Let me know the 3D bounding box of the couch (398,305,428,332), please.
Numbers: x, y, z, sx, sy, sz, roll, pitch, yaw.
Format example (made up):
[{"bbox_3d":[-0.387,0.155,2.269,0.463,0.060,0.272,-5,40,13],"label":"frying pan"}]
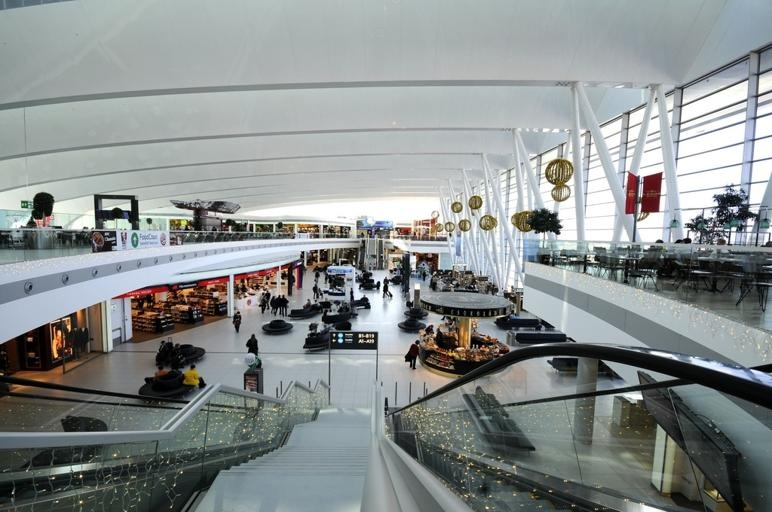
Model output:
[{"bbox_3d":[1.629,3.687,27.777,1.674,0.634,5.934,1,3,5],"label":"couch"}]

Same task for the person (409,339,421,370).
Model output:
[{"bbox_3d":[1.277,4.272,20.803,0.412,1.144,1.654,-1,2,6],"label":"person"}]

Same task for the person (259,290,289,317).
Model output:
[{"bbox_3d":[-6.744,3.024,30.109,1.136,1.288,2.285,1,0,35],"label":"person"}]

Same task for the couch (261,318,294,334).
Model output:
[{"bbox_3d":[-5.768,3.753,24.977,1.415,0.652,0.779,-1,2,-11],"label":"couch"}]

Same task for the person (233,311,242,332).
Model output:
[{"bbox_3d":[-7.770,3.417,24.703,0.304,1.089,1.140,-1,2,-20],"label":"person"}]

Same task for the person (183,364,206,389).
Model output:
[{"bbox_3d":[-6.943,4.362,17.076,0.656,0.839,0.465,-2,2,-33],"label":"person"}]

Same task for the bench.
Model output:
[{"bbox_3d":[1.871,2.655,7.523,0.292,0.879,0.790,19,-18,-38],"label":"bench"}]

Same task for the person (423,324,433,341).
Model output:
[{"bbox_3d":[2.078,3.735,23.071,0.355,1.182,0.509,-7,6,-11],"label":"person"}]
